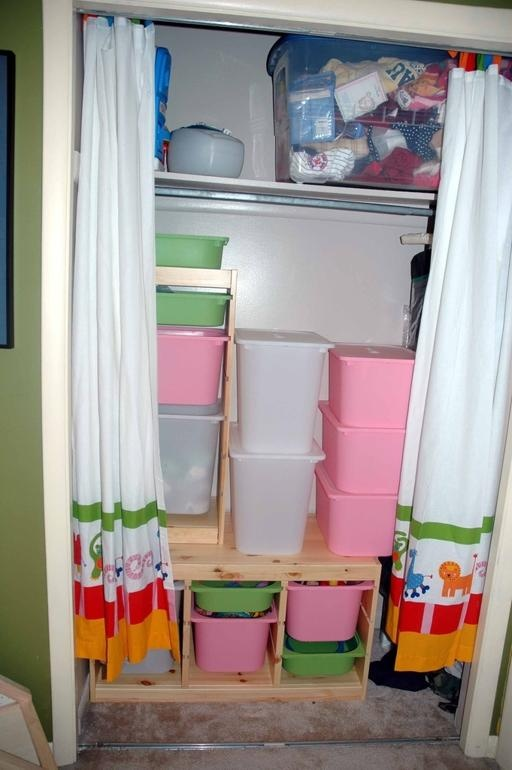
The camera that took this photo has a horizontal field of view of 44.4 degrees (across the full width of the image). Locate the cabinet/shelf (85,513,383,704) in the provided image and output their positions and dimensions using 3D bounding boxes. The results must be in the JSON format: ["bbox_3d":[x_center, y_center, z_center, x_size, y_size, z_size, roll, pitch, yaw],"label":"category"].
[{"bbox_3d":[0.027,0.519,1.926,0.823,0.543,0.477,0,20,-3],"label":"cabinet/shelf"}]

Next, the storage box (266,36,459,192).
[{"bbox_3d":[0.272,-0.745,1.763,0.460,0.322,0.349,-1,21,-5],"label":"storage box"}]
